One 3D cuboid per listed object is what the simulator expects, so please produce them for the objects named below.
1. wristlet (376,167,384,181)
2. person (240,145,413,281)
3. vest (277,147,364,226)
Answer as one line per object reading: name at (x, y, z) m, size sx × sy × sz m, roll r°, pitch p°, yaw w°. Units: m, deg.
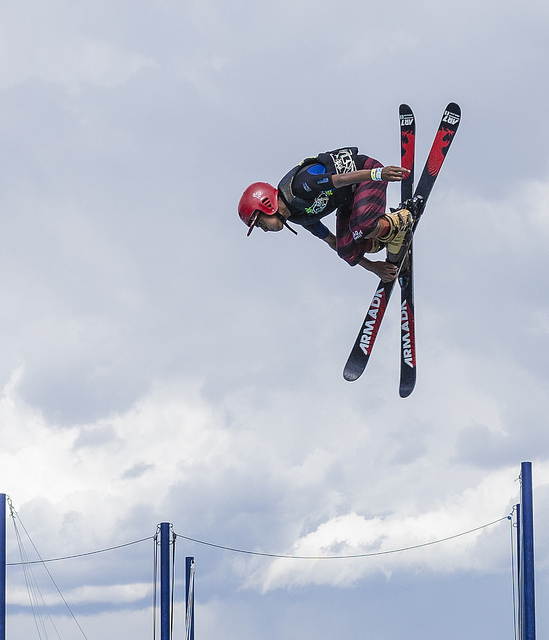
wristlet at (1.214, -1.694, 18.269) m, size 0.077 × 0.122 × 0.115 m, roll 3°, pitch -11°, yaw 20°
person at (0.709, -1.304, 17.995) m, size 1.233 × 1.098 × 1.618 m, roll -18°, pitch -2°, yaw -16°
vest at (0.758, -1.618, 18.780) m, size 1.311 × 0.731 × 1.288 m, roll -4°, pitch 0°, yaw -11°
